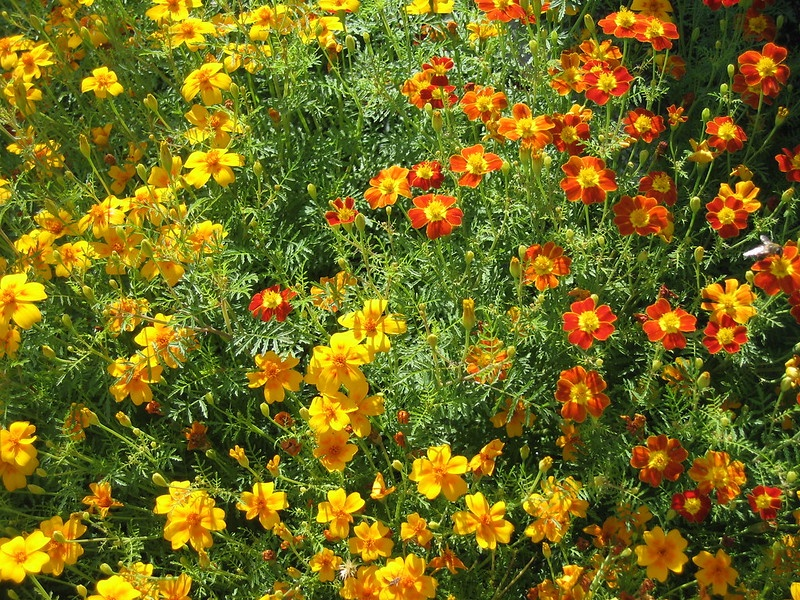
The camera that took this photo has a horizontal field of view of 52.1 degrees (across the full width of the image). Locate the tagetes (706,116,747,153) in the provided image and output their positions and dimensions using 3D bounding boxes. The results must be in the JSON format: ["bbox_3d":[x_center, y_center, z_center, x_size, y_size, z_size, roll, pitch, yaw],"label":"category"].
[{"bbox_3d":[1.163,-0.589,2.949,0.132,0.056,0.164,8,56,2],"label":"tagetes"}]

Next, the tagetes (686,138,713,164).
[{"bbox_3d":[1.054,-0.523,2.882,0.087,0.070,0.094,-15,38,-7],"label":"tagetes"}]

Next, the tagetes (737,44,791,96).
[{"bbox_3d":[1.324,-0.823,2.954,0.178,0.118,0.169,-10,69,-6],"label":"tagetes"}]
